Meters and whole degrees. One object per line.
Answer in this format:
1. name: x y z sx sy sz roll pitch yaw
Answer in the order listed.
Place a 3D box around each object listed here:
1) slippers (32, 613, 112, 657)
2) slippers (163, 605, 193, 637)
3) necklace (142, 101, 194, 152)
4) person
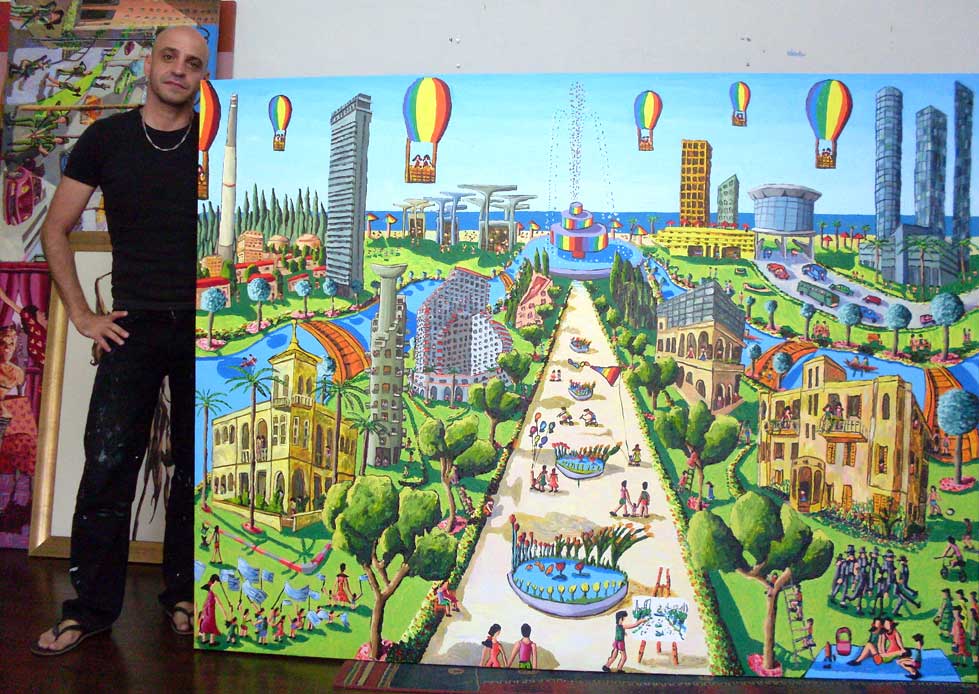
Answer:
1. slippers: -1.744 1.183 5.106 0.099 0.065 0.262 9 5 24
2. slippers: -1.323 1.162 5.263 0.090 0.063 0.255 2 -5 -24
3. necklace: -1.354 -0.914 5.181 0.206 0.216 0.048 -1 0 -1
4. person: -1.537 -0.044 5.182 0.627 2.567 0.344 1 5 -17
